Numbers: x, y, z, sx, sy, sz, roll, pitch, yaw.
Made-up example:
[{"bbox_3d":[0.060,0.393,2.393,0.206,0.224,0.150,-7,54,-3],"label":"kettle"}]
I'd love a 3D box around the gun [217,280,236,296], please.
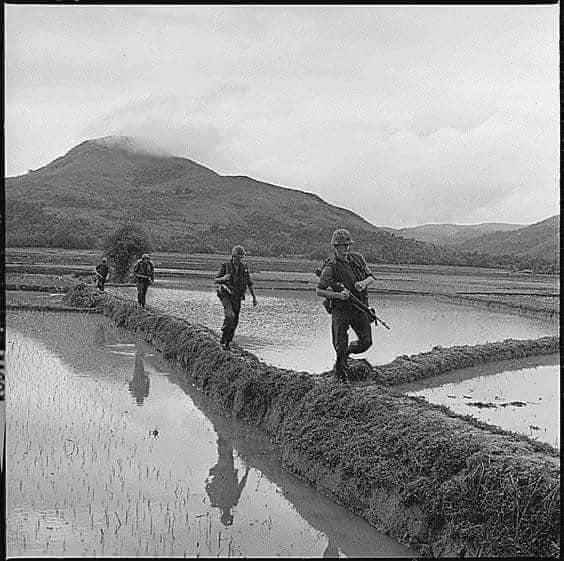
[{"bbox_3d":[-1.434,0.164,15.438,0.456,0.363,0.493,3,4,15],"label":"gun"}]

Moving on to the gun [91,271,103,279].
[{"bbox_3d":[-11.015,-0.373,37.202,0.603,0.304,0.954,11,-1,6],"label":"gun"}]

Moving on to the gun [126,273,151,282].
[{"bbox_3d":[-7.422,-0.187,31.938,0.631,0.471,1.004,1,0,-4],"label":"gun"}]

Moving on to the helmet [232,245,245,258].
[{"bbox_3d":[-1.076,-0.743,15.356,0.198,0.319,0.310,0,-8,-6],"label":"helmet"}]

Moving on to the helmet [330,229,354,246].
[{"bbox_3d":[1.076,-0.840,11.385,0.256,0.323,0.334,1,-4,-4],"label":"helmet"}]

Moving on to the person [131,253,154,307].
[{"bbox_3d":[-5.532,-0.003,24.970,0.723,2.105,1.128,0,4,-15],"label":"person"}]
